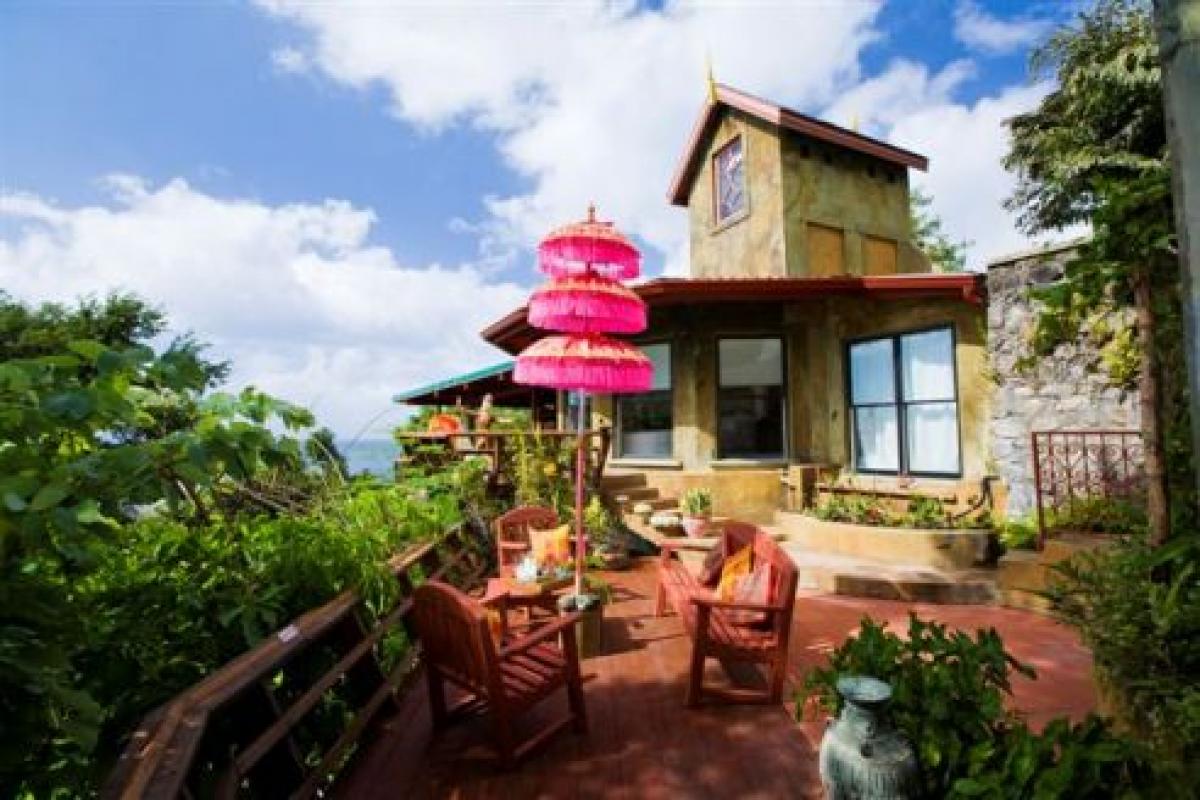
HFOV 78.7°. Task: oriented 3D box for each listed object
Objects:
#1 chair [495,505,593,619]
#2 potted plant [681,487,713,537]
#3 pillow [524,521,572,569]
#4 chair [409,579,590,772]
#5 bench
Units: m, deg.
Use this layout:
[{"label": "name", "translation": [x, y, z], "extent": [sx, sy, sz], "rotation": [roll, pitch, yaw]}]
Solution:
[{"label": "chair", "translation": [-0.837, 1.992, 8.953], "extent": [0.958, 1.314, 0.968], "rotation": [6, -13, -9]}, {"label": "potted plant", "translation": [1.469, 1.709, 11.125], "extent": [0.546, 0.799, 0.568], "rotation": [3, -15, -4]}, {"label": "pillow", "translation": [-0.649, 1.803, 9.004], "extent": [0.467, 0.520, 0.205], "rotation": [0, -28, -3]}, {"label": "chair", "translation": [-1.011, 2.558, 7.450], "extent": [1.196, 1.837, 1.345], "rotation": [-15, 14, -39]}, {"label": "bench", "translation": [1.397, 2.275, 8.028], "extent": [1.248, 1.768, 1.470], "rotation": [-2, -4, 3]}]
